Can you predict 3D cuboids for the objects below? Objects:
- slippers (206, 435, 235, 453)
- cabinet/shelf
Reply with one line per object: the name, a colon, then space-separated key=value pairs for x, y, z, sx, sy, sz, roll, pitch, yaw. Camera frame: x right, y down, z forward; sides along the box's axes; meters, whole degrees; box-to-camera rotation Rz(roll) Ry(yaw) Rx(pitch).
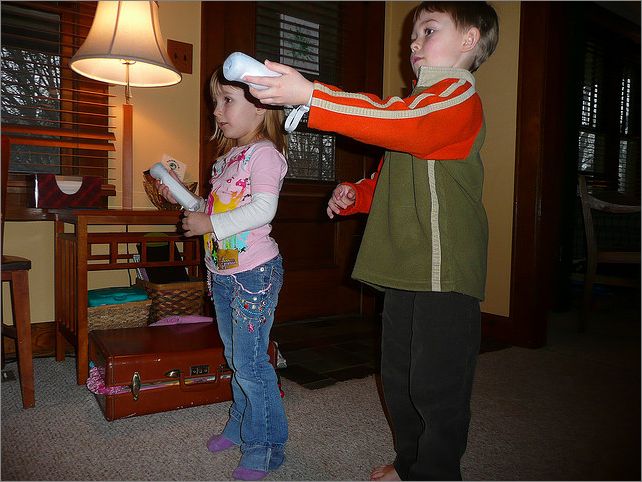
slippers: x=-0.363 y=0.704 z=1.694 sx=0.043 sy=0.032 sz=0.078 roll=24 pitch=22 yaw=35
cabinet/shelf: x=-0.862 y=0.262 z=2.120 sx=0.719 sy=0.668 sz=0.300 roll=-2 pitch=7 yaw=-21
